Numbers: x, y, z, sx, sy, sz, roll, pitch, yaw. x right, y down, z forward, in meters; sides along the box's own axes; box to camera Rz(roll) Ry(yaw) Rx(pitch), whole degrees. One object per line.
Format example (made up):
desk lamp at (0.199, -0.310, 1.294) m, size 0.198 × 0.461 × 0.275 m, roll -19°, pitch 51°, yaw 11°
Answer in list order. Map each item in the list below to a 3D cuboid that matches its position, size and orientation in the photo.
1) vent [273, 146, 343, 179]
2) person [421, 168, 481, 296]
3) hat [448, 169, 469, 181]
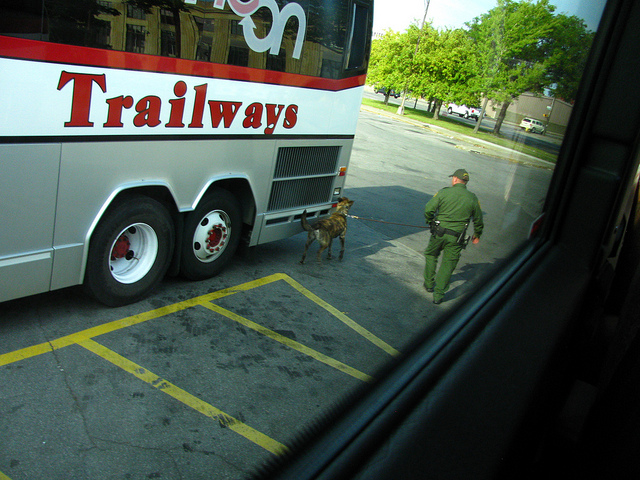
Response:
vent at (-0.118, -1.074, 6.584) m, size 0.057 × 0.470 × 1.381 m, roll 25°, pitch 23°, yaw 34°
person at (1.759, -0.102, 6.625) m, size 0.637 × 1.708 × 0.836 m, roll 17°, pitch 22°, yaw 26°
hat at (1.866, -0.864, 6.466) m, size 0.119 × 0.107 × 0.187 m, roll 1°, pitch 16°, yaw -30°
